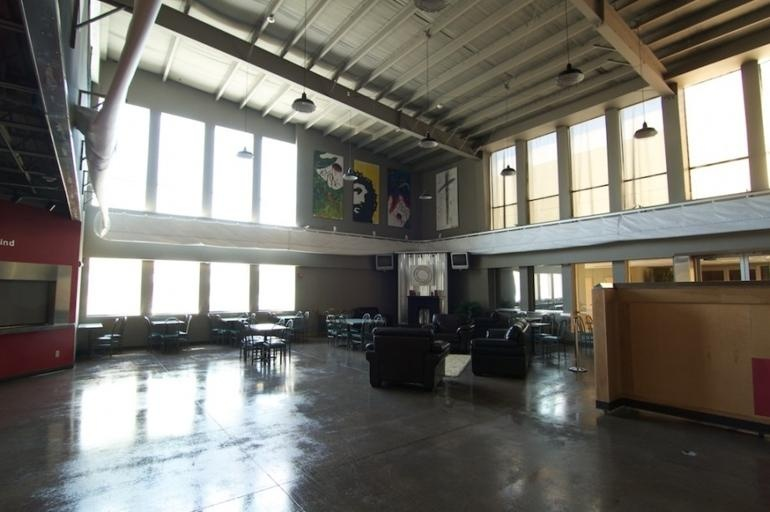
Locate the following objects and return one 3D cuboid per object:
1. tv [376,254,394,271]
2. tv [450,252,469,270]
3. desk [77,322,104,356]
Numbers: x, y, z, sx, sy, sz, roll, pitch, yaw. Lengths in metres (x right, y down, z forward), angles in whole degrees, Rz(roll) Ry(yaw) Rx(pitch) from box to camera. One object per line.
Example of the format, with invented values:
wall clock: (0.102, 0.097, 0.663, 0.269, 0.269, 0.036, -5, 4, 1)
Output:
tv: (0.038, 0.235, 18.973, 0.574, 0.494, 0.559, 0, -3, 5)
tv: (2.625, 0.183, 17.876, 0.824, 0.740, 0.455, -6, -9, 44)
desk: (-7.563, 2.226, 13.563, 0.865, 0.842, 0.857, 4, -5, -37)
